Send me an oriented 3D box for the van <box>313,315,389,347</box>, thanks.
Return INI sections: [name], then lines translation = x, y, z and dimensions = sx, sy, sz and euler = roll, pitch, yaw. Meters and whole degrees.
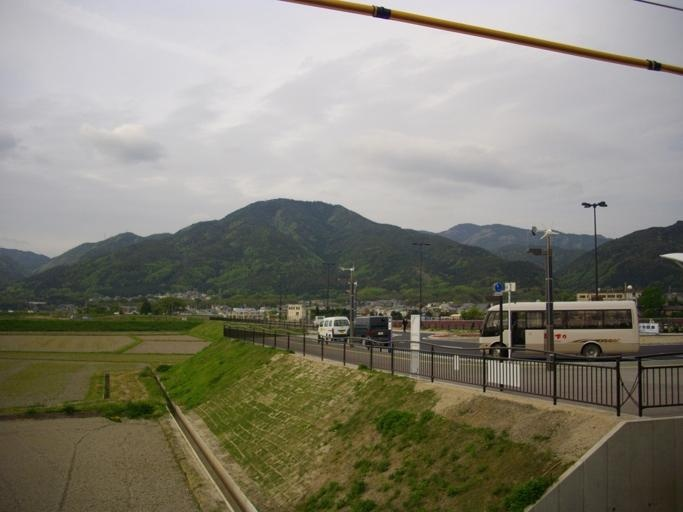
[van]
translation = 0.936, 5.864, 43.630
dimensions = 1.822, 1.769, 7.387
euler = 4, -8, -37
